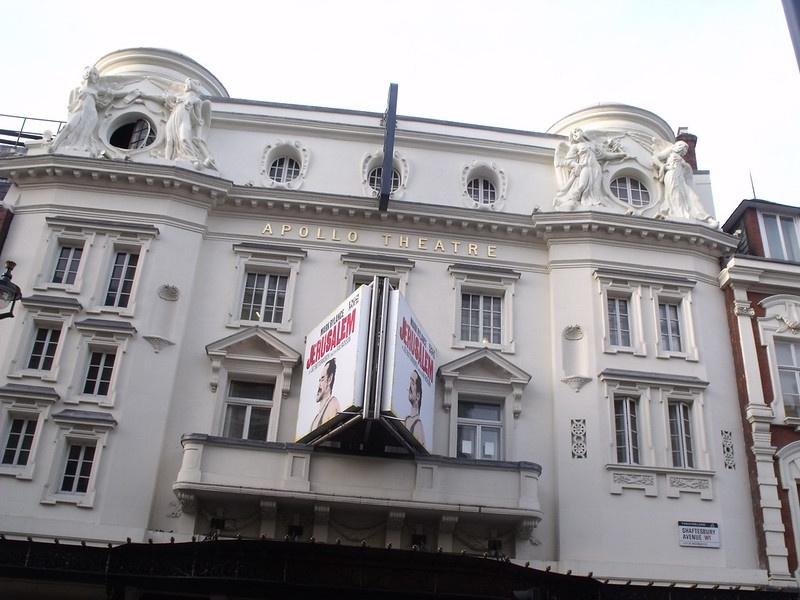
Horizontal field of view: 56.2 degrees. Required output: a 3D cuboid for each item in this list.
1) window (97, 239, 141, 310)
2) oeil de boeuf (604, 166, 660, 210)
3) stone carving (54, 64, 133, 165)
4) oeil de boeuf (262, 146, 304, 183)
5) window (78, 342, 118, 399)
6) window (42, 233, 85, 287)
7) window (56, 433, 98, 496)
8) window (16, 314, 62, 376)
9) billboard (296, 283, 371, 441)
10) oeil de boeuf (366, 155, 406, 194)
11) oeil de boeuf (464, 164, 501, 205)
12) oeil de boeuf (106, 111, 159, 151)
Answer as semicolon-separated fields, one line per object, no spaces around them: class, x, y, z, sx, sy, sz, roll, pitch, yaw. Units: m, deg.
window;-10.325;-0.730;27.860;0.960;2.683;0.202;8;-42;-14
oeil de boeuf;9.525;-4.549;31.235;2.041;2.295;0.132;9;-51;5
stone carving;-12.357;-7.502;29.896;3.050;4.314;0.793;1;-25;-12
oeil de boeuf;-4.730;-5.388;30.886;1.444;1.680;0.125;3;-41;-4
window;-10.593;2.627;26.472;0.949;1.765;0.124;8;-39;-16
window;-12.464;-1.386;28.046;1.298;2.384;0.218;6;-47;-11
window;-10.783;5.628;25.089;0.976;1.790;0.276;0;-23;6
window;-12.650;1.683;26.562;0.989;1.908;0.358;0;-23;5
billboard;-2.210;2.327;24.880;0.431;4.254;4.370;16;-31;-27
oeil de boeuf;-0.577;-5.054;30.228;2.274;2.659;0.106;1;-38;-3
oeil de boeuf;3.360;-4.621;31.242;1.501;0.079;1.747;11;-35;13
oeil de boeuf;-10.771;-6.810;30.199;1.741;1.574;0.138;-1;-5;10
